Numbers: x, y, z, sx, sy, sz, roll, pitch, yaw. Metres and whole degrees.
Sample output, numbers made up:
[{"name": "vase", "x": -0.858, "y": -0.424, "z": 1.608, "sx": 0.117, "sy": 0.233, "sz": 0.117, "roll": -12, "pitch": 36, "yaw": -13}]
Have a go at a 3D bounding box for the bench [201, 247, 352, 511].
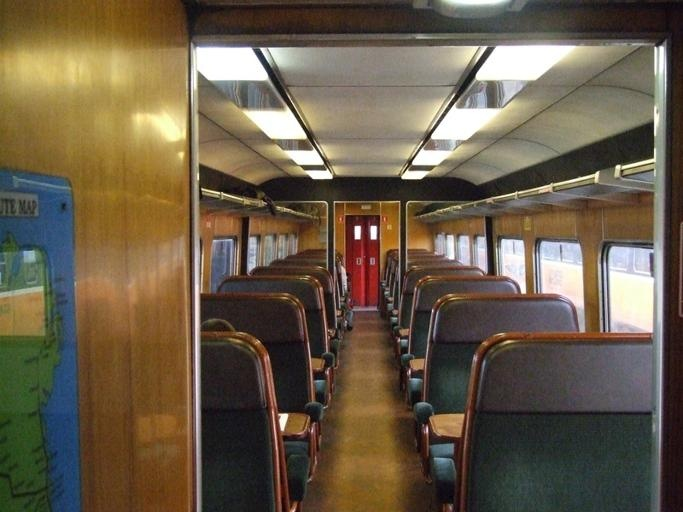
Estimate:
[{"name": "bench", "x": -0.419, "y": 0.915, "z": 5.011, "sx": 1.167, "sy": 1.949, "sz": 1.553, "roll": 0, "pitch": -1, "yaw": 4}]
